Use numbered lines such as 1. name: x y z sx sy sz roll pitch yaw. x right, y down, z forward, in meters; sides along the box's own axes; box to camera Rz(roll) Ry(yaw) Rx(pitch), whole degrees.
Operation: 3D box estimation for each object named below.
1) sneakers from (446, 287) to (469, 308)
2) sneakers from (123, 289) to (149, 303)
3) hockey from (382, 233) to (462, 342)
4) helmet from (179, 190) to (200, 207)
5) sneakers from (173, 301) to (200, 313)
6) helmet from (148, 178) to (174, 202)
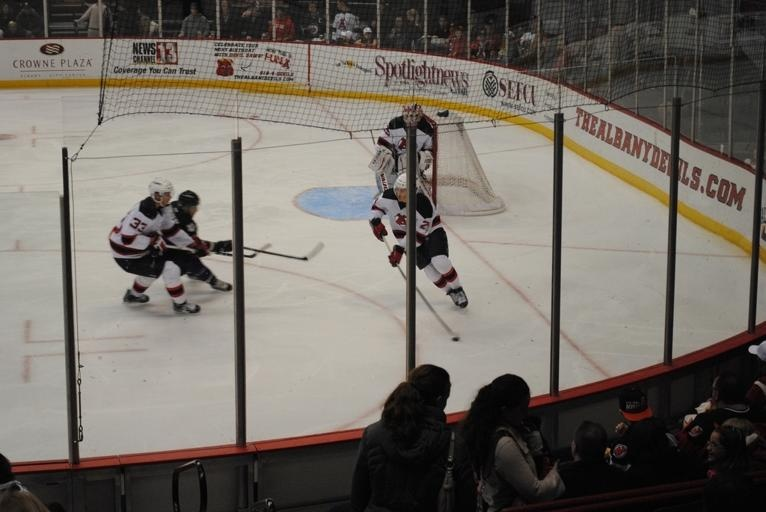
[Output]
1. sneakers: 0.656 0.346 8.207 0.113 0.083 0.261 9 42 -56
2. sneakers: -2.101 0.340 8.129 0.238 0.084 0.093 -2 22 -19
3. hockey: 0.318 0.288 7.944 0.140 0.203 1.554 10 24 -39
4. helmet: -1.640 -0.490 8.198 0.177 0.107 0.141 0 7 10
5. sneakers: -1.633 0.429 8.004 0.212 0.077 0.088 -1 13 2
6. helmet: -1.827 -0.557 7.987 0.233 0.192 0.163 2 35 -6
